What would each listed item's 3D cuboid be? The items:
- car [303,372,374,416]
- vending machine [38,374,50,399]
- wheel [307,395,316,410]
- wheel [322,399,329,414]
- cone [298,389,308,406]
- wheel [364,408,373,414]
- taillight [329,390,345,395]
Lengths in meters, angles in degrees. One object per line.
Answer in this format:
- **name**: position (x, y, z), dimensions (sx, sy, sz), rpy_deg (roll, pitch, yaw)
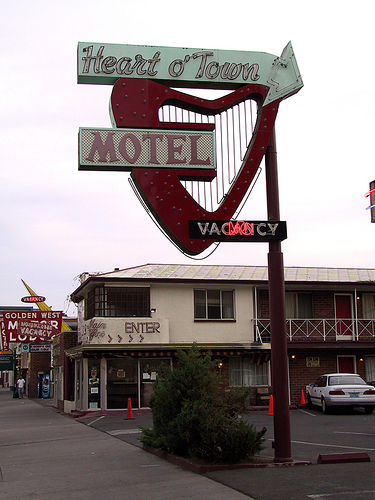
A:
- **car**: position (5.669, 5.468, 23.992), dimensions (1.323, 0.906, 2.722), rpy_deg (1, -9, -5)
- **vending machine**: position (-10.276, 9.770, 45.025), dimensions (0.800, 1.725, 1.080), rpy_deg (0, -11, -11)
- **wheel**: position (5.276, 6.373, 26.297), dimensions (0.292, 0.601, 0.871), rpy_deg (-3, -11, 6)
- **wheel**: position (5.215, 5.824, 23.478), dimensions (0.203, 0.650, 0.633), rpy_deg (1, -7, 0)
- **cone**: position (5.092, 6.666, 28.090), dimensions (0.528, 0.742, 0.540), rpy_deg (0, -16, -2)
- **wheel**: position (6.848, 6.014, 23.500), dimensions (0.257, 0.273, 0.265), rpy_deg (0, -2, 0)
- **taillight**: position (5.508, 5.196, 22.909), dimensions (0.581, 0.163, 0.066), rpy_deg (-9, -13, 32)
